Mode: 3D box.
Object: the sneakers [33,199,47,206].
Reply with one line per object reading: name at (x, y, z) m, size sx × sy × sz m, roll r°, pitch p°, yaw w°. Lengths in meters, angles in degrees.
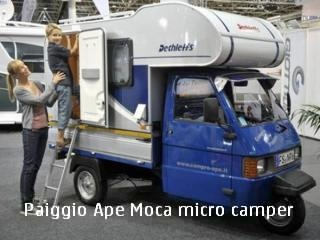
sneakers at (-2.223, 1.523, 4.933) m, size 0.115 × 0.068 × 0.179 m, roll 2°, pitch 2°, yaw 4°
